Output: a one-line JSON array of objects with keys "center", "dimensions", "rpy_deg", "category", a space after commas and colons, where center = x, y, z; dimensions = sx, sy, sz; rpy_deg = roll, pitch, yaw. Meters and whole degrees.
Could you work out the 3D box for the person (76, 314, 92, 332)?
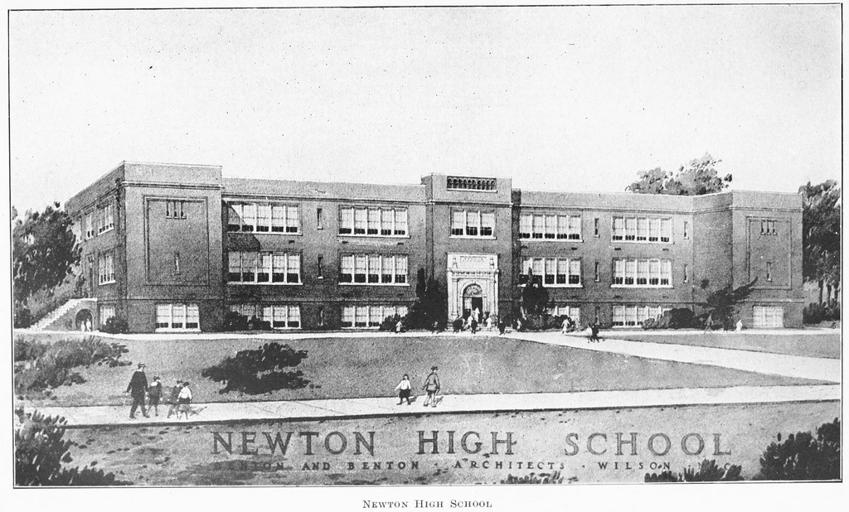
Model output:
[{"center": [-22.184, 4.251, 73.063], "dimensions": [0.781, 1.242, 0.417], "rpy_deg": [-3, -10, -9], "category": "person"}]
